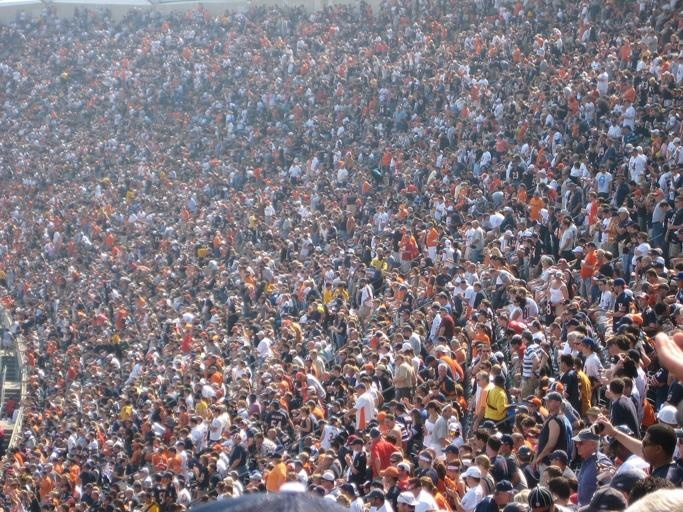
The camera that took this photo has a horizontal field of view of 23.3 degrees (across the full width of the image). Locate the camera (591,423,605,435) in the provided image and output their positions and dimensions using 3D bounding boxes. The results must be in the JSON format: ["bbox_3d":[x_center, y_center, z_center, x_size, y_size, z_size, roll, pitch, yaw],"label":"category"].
[{"bbox_3d":[7.550,5.072,48.989,0.365,0.267,0.193,10,49,-34],"label":"camera"}]
